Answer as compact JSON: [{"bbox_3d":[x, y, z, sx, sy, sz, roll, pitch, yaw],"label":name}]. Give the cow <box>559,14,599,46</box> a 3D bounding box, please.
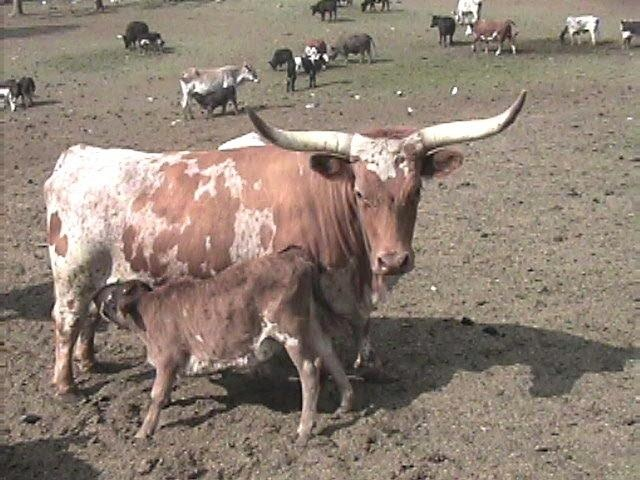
[{"bbox_3d":[6.603,-5.417,23.086,0.965,0.830,1.554,5,29,15],"label":"cow"}]
